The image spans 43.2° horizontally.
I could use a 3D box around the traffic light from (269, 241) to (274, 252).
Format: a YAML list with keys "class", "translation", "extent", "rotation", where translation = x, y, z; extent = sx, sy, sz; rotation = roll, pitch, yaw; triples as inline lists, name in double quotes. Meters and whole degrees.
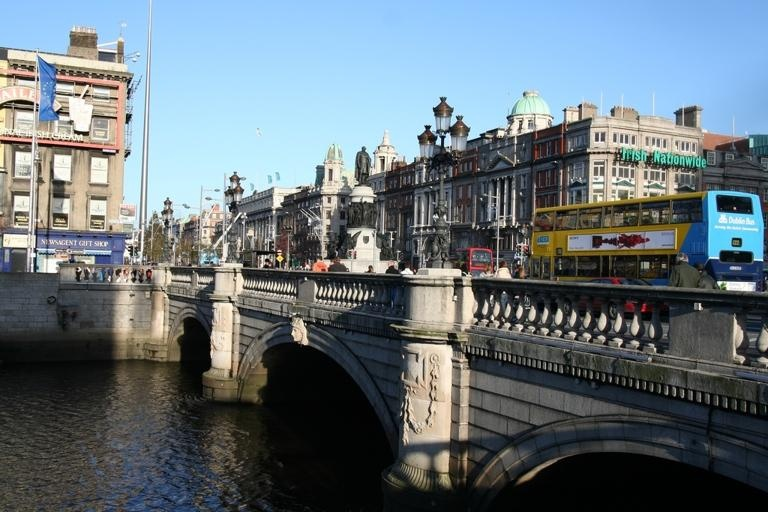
- class: "traffic light"
  translation: [-19.315, -1.889, 167.424]
  extent: [0.717, 1.199, 2.765]
  rotation: [-3, 12, -16]

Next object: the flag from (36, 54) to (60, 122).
- class: "flag"
  translation: [-20.225, -10.030, 58.242]
  extent: [1.071, 3.780, 2.484]
  rotation: [-3, 12, -19]

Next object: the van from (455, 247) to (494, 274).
- class: "van"
  translation: [5.422, 0.312, 57.695]
  extent: [1.066, 1.569, 3.086]
  rotation: [2, -3, -16]

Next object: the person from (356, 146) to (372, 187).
- class: "person"
  translation: [-0.928, -3.931, 42.383]
  extent: [0.600, 1.681, 1.518]
  rotation: [0, 11, -2]
